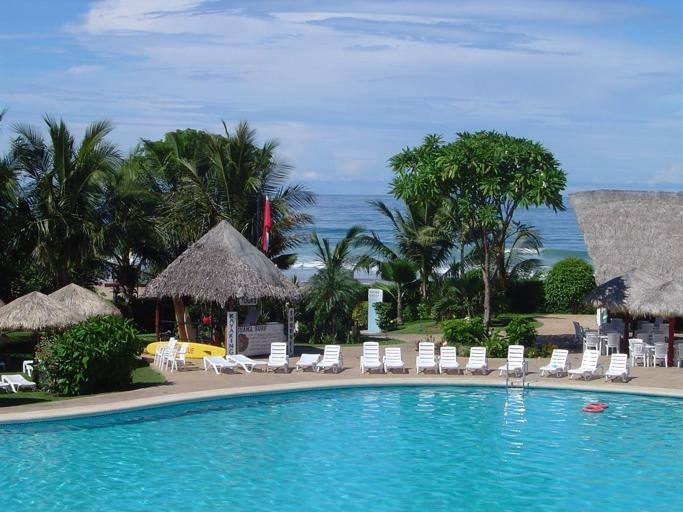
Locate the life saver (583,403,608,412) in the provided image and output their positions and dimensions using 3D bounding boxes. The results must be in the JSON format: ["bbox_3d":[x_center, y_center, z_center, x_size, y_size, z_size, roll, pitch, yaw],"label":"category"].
[{"bbox_3d":[7.096,4.219,24.037,0.635,0.141,0.931,-2,-3,18],"label":"life saver"}]
